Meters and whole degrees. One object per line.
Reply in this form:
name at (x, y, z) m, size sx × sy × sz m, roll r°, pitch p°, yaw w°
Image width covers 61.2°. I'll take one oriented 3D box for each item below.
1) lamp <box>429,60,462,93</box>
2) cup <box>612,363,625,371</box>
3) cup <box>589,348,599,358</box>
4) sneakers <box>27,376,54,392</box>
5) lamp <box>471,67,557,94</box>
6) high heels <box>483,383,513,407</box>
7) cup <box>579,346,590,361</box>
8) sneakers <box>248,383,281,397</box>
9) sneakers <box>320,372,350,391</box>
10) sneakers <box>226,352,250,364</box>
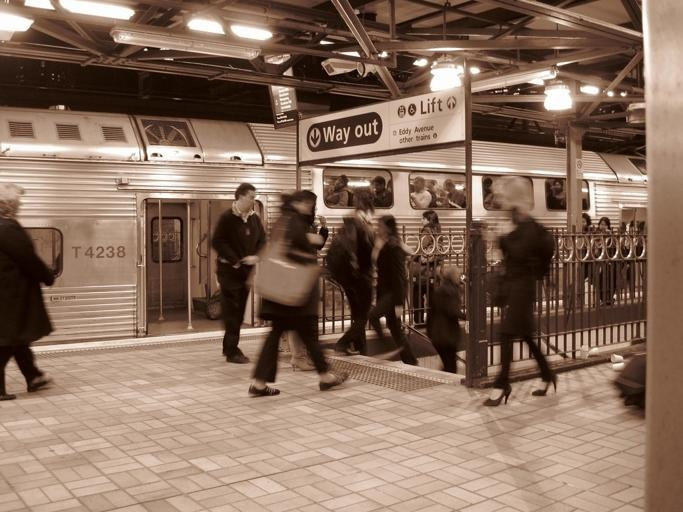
lamp at (1.678, -2.887, 9.167) m, size 0.492 × 0.413 × 0.770 m, roll 0°, pitch 3°, yaw 9°
cup at (3.303, 1.308, 6.825) m, size 0.137 × 0.107 × 0.107 m, roll -2°, pitch -22°, yaw 7°
cup at (3.263, 1.228, 7.411) m, size 0.163 × 0.110 × 0.073 m, roll -3°, pitch 4°, yaw -45°
sneakers at (-3.289, 1.378, 6.219) m, size 0.233 × 0.153 × 0.077 m, roll -25°, pitch 36°, yaw -24°
lamp at (2.579, -2.695, 8.734) m, size 0.379 × 0.194 × 1.334 m, roll -3°, pitch 4°, yaw -39°
high heels at (1.529, 1.356, 5.583) m, size 0.411 × 0.183 × 0.137 m, roll 3°, pitch -8°, yaw -37°
cup at (3.112, 1.216, 7.347) m, size 0.102 × 0.147 × 0.193 m, roll 1°, pitch 3°, yaw 30°
sneakers at (-0.820, 1.384, 5.990) m, size 0.371 × 0.134 × 0.130 m, roll 0°, pitch -2°, yaw -16°
sneakers at (-0.080, 1.363, 6.338) m, size 0.132 × 0.130 × 0.391 m, roll 7°, pitch 15°, yaw 43°
sneakers at (-1.377, 1.340, 7.601) m, size 0.282 × 0.110 × 0.135 m, roll -3°, pitch -3°, yaw 18°
